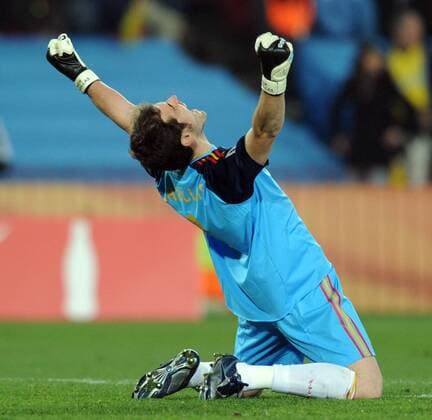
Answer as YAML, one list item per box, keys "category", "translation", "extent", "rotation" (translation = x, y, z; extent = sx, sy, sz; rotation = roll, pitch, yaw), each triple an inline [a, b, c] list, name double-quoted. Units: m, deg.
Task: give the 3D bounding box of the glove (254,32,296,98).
- category: "glove"
  translation: [0.375, -0.917, 5.818]
  extent: [0.235, 0.384, 0.213]
  rotation: [-1, 16, 3]

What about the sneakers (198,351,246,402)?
- category: "sneakers"
  translation: [0.052, 1.139, 6.126]
  extent: [0.185, 0.371, 0.188]
  rotation: [32, 8, -16]

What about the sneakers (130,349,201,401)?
- category: "sneakers"
  translation: [-0.326, 1.168, 6.284]
  extent: [0.531, 0.234, 0.200]
  rotation: [-32, -27, 9]
